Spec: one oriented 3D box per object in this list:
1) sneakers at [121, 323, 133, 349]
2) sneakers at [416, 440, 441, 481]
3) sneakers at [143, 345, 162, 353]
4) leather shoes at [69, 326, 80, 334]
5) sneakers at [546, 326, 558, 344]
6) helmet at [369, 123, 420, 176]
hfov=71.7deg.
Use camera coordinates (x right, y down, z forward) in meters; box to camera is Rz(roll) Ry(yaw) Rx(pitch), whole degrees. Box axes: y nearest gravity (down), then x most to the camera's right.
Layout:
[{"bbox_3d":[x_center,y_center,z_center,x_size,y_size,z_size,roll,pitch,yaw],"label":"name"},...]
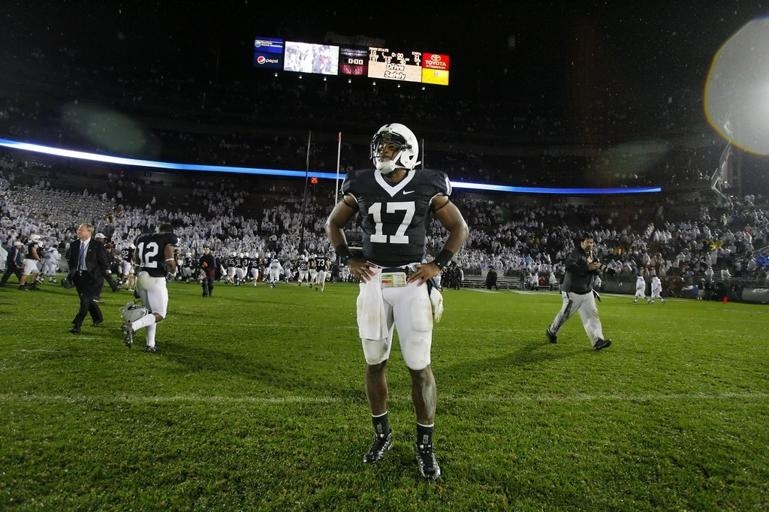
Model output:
[{"bbox_3d":[-4.034,1.233,8.445,0.178,0.471,0.215,0,0,0],"label":"sneakers"},{"bbox_3d":[0.472,2.146,5.664,0.271,0.332,0.289,3,12,3],"label":"sneakers"},{"bbox_3d":[-3.639,1.485,8.448,0.323,0.137,0.108,6,-5,3],"label":"sneakers"},{"bbox_3d":[-5.423,1.327,9.343,0.089,0.151,0.220,39,-35,-29],"label":"leather shoes"},{"bbox_3d":[3.182,1.534,10.118,0.140,0.163,0.377,-9,-29,10],"label":"sneakers"},{"bbox_3d":[0.052,-1.246,6.166,0.507,0.523,0.609,7,12,12],"label":"helmet"}]
